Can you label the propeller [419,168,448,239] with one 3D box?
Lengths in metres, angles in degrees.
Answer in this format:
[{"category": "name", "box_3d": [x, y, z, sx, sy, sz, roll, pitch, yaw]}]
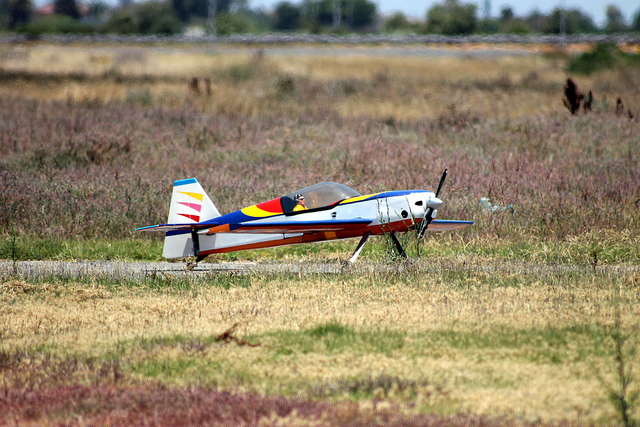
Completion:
[{"category": "propeller", "box_3d": [3.376, -0.358, 38.174, 0.764, 2.046, 1.217, 1, 11, 5]}]
